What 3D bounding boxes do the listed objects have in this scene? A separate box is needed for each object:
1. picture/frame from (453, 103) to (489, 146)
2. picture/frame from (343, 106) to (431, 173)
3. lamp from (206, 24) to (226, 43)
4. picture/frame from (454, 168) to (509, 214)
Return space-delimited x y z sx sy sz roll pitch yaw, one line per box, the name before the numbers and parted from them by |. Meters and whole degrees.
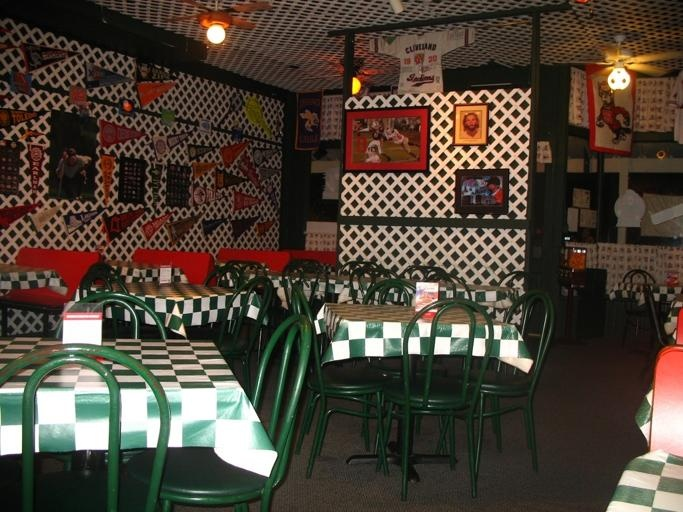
picture/frame | 1.396 -1.396 6.301 0.402 0.541 0.035 0 -2 25
picture/frame | 0.550 -1.303 6.616 0.690 0.560 0.038 1 1 23
lamp | -1.228 -2.147 5.762 0.152 0.165 0.172 1 4 -5
picture/frame | 1.518 -0.687 6.282 0.430 0.419 0.033 1 0 24
